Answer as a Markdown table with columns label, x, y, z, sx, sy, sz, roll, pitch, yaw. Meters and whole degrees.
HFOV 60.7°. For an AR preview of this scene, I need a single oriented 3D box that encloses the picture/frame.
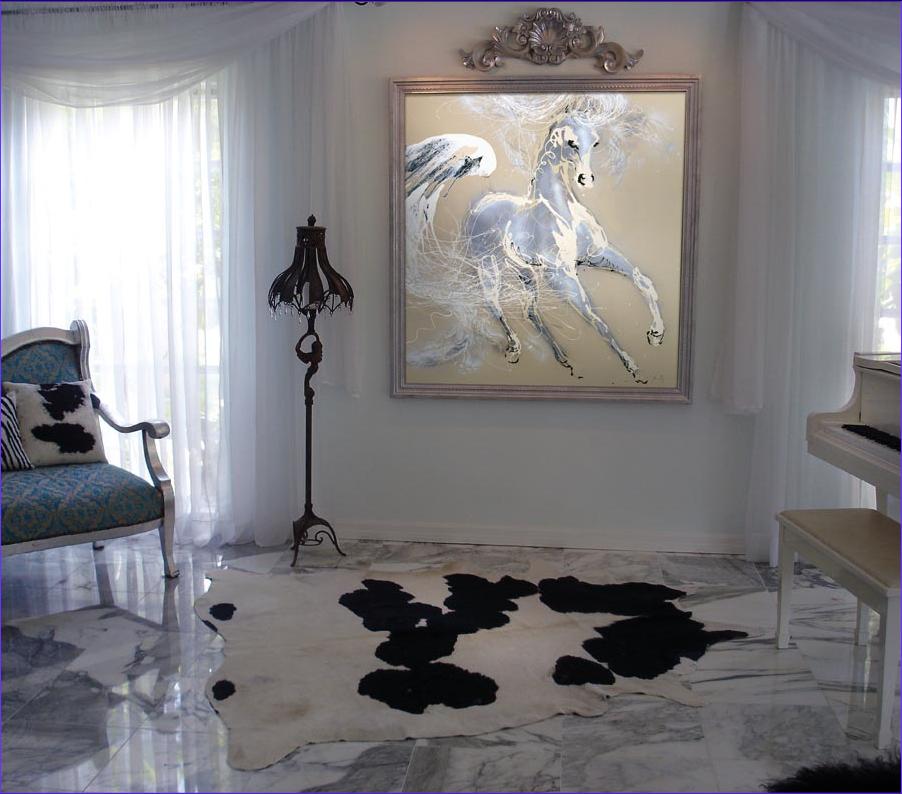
| label | x | y | z | sx | sy | sz | roll | pitch | yaw |
| --- | --- | --- | --- | --- | --- | --- | --- | --- | --- |
| picture/frame | 0.523 | -0.840 | 3.826 | 1.567 | 1.731 | 0.066 | 0 | 6 | 5 |

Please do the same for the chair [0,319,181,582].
| label | x | y | z | sx | sy | sz | roll | pitch | yaw |
| --- | --- | --- | --- | --- | --- | --- | --- | --- | --- |
| chair | -1.730 | 0.256 | 3.654 | 0.708 | 1.239 | 0.890 | -5 | 7 | -25 |

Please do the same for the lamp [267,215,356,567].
| label | x | y | z | sx | sy | sz | roll | pitch | yaw |
| --- | --- | --- | --- | --- | --- | --- | --- | --- | --- |
| lamp | -0.681 | -0.049 | 3.889 | 0.438 | 1.720 | 0.439 | -4 | 6 | -13 |

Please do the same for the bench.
| label | x | y | z | sx | sy | sz | roll | pitch | yaw |
| --- | --- | --- | --- | --- | --- | --- | --- | --- | --- |
| bench | 1.353 | 0.823 | 2.683 | 0.273 | 0.490 | 0.682 | -2 | 6 | -4 |
